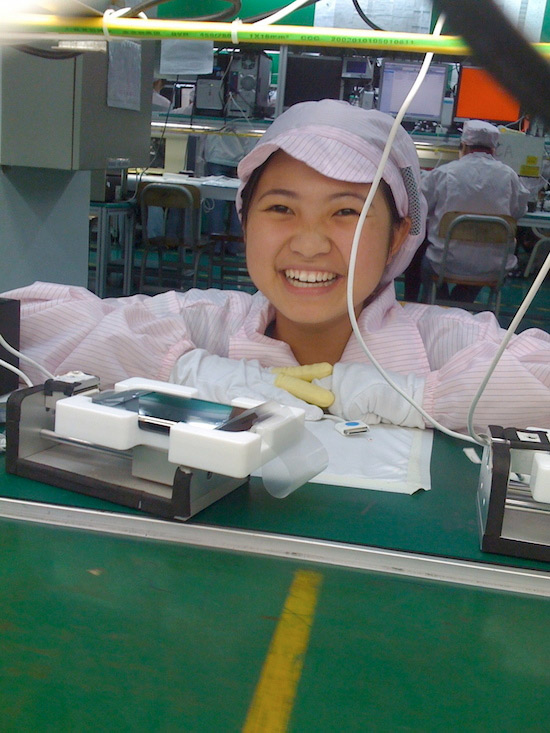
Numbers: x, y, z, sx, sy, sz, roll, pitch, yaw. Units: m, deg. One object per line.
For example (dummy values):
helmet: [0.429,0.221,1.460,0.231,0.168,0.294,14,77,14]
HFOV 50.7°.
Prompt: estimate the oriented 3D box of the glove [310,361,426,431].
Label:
glove: [0.157,0.043,0.884,0.121,0.041,0.098,5,26,4]

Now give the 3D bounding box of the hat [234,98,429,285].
hat: [0.120,-0.294,0.981,0.251,0.254,0.288,8,-4,7]

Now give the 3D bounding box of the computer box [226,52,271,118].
computer box: [-0.205,-2.200,4.533,0.359,0.444,0.333,5,26,0]

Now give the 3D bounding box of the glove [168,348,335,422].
glove: [-0.047,0.022,0.896,0.196,0.043,0.113,14,18,5]

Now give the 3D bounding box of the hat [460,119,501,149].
hat: [1.257,-1.435,3.550,0.213,0.117,0.197,6,27,-1]
